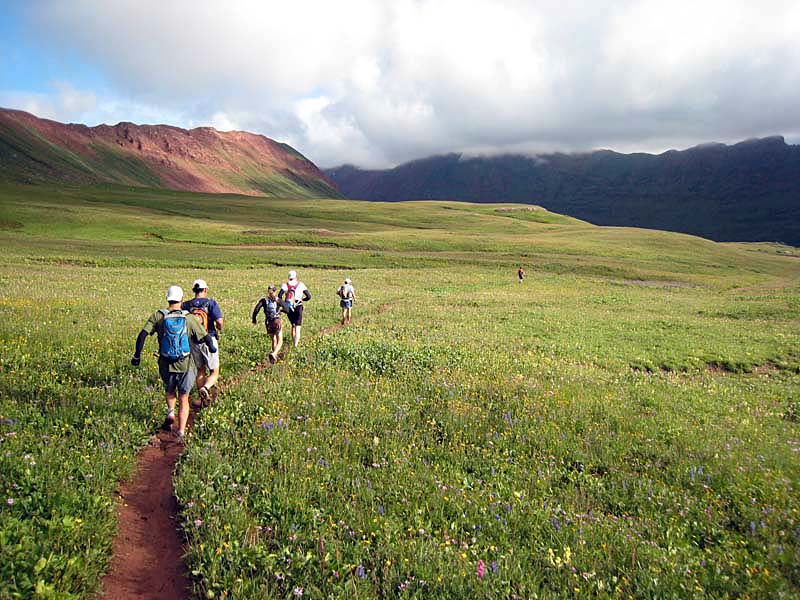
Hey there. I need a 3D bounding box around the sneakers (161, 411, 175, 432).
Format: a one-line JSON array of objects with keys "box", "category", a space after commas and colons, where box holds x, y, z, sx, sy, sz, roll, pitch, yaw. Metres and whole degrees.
[{"box": [-6.404, 3.432, 15.477, 0.227, 0.656, 0.264, 15, -2, -11], "category": "sneakers"}]

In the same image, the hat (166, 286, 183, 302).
[{"box": [-6.288, -0.157, 15.594, 0.478, 0.410, 0.728, 1, 0, -15], "category": "hat"}]

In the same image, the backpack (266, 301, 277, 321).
[{"box": [-5.037, 0.417, 21.792, 0.617, 0.995, 0.482, 0, -7, -13], "category": "backpack"}]
